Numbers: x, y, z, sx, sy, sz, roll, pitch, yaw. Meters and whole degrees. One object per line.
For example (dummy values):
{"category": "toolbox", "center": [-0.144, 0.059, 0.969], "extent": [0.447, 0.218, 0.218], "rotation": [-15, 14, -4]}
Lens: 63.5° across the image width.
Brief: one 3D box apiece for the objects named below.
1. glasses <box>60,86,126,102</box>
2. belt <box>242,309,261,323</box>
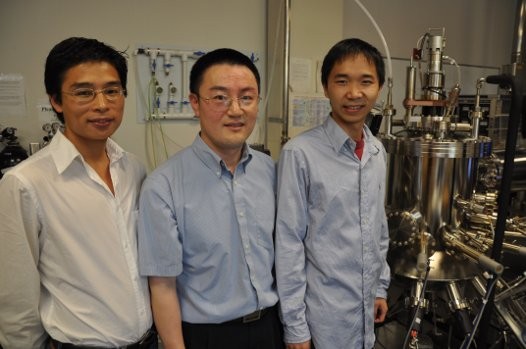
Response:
{"category": "glasses", "center": [-0.828, -0.386, 2.077], "extent": [0.254, 0.068, 0.080], "rotation": [-8, 9, -27]}
{"category": "belt", "center": [-0.053, 0.720, 2.160], "extent": [0.075, 0.033, 0.055], "rotation": [-15, 12, -40]}
